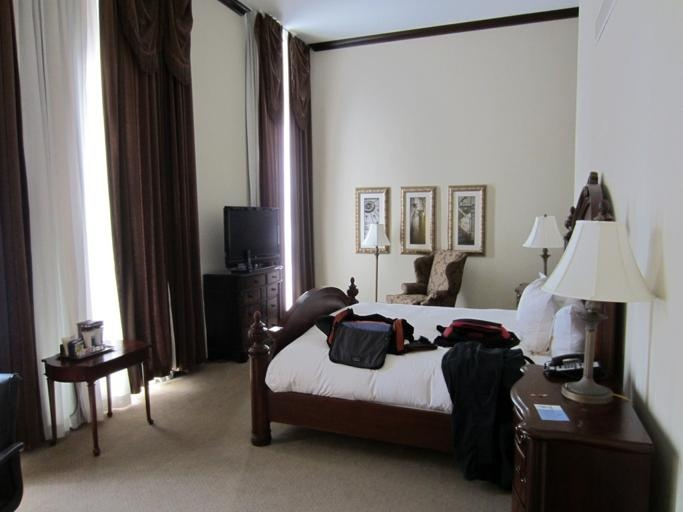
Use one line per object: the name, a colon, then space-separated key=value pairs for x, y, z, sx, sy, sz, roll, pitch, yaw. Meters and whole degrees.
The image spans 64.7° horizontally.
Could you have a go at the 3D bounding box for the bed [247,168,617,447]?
bed: x=0.787 y=0.425 z=4.630 sx=2.349 sy=2.395 sz=1.909 roll=1 pitch=7 yaw=22

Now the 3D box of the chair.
chair: x=1.106 y=0.465 z=7.010 sx=0.893 sy=1.093 sz=0.769 roll=0 pitch=5 yaw=-39

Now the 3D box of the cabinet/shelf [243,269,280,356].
cabinet/shelf: x=-0.836 y=0.563 z=5.490 sx=0.293 sy=0.826 sz=0.801 roll=0 pitch=5 yaw=10

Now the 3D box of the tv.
tv: x=-1.064 y=-0.169 z=6.200 sx=0.185 sy=0.566 sz=0.697 roll=0 pitch=3 yaw=22

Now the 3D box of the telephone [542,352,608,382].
telephone: x=1.395 y=0.676 z=3.243 sx=0.245 sy=0.144 sz=0.178 roll=-4 pitch=-1 yaw=16

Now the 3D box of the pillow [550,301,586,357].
pillow: x=1.527 y=0.506 z=3.626 sx=0.118 sy=0.411 sz=0.376 roll=9 pitch=-3 yaw=8
